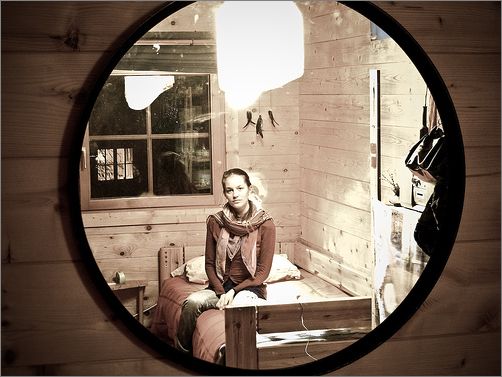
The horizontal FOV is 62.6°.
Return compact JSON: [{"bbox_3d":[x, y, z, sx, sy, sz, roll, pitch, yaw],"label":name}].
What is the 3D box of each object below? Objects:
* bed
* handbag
[{"bbox_3d":[0.060,0.411,1.264,0.473,0.208,0.451,0,1,-24],"label":"bed"},{"bbox_3d":[0.591,-0.105,1.328,0.169,0.169,0.082,-23,27,-39],"label":"handbag"}]
